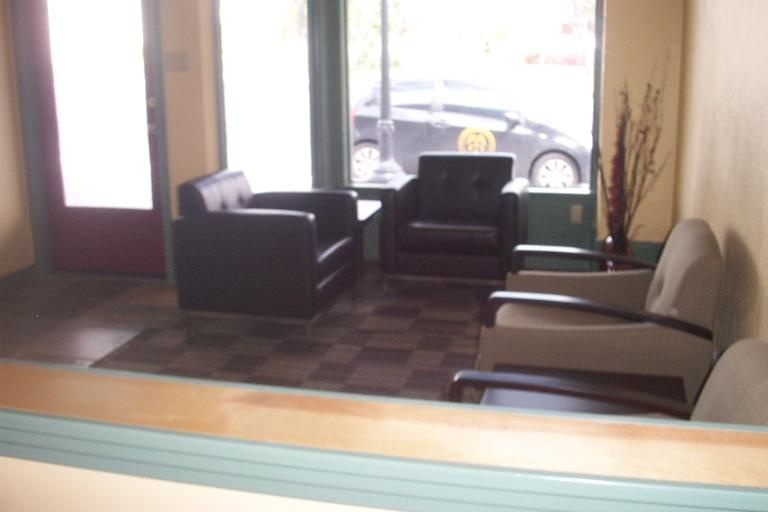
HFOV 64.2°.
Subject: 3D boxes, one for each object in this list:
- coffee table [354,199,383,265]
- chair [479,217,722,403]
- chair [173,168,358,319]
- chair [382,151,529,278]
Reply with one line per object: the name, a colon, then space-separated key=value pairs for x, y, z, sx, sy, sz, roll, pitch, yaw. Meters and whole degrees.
coffee table: x=-0.115 y=-0.178 z=4.857 sx=0.180 sy=0.541 sz=0.967 roll=2 pitch=10 yaw=-1
chair: x=0.965 y=0.234 z=2.688 sx=0.986 sy=0.809 sz=0.734 roll=5 pitch=22 yaw=15
chair: x=-0.759 y=-0.111 z=4.132 sx=0.973 sy=0.859 sz=0.907 roll=5 pitch=11 yaw=16
chair: x=0.585 y=-0.325 z=4.727 sx=1.067 sy=0.939 sz=0.768 roll=3 pitch=15 yaw=18
